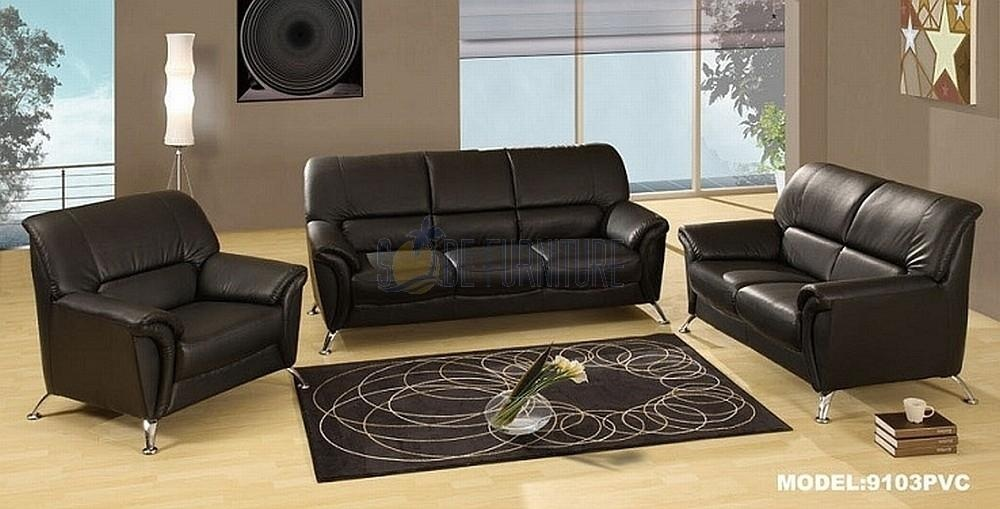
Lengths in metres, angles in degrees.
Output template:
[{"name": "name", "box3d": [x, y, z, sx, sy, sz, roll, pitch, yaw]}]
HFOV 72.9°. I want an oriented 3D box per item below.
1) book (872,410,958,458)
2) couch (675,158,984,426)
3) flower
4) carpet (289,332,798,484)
[{"name": "book", "box3d": [3.134, 1.354, 5.106, 0.436, 0.152, 0.378, -3, 10, -11]}, {"name": "couch", "box3d": [2.972, 0.155, 6.327, 1.735, 1.451, 2.453, -15, 16, -7]}, {"name": "flower", "box3d": [0.233, 1.124, 5.413, 0.758, 0.575, 0.555, 0, 0, -9]}, {"name": "carpet", "box3d": [0.144, 1.223, 5.686, 3.656, 0.388, 1.406, -4, 12, -7]}]
